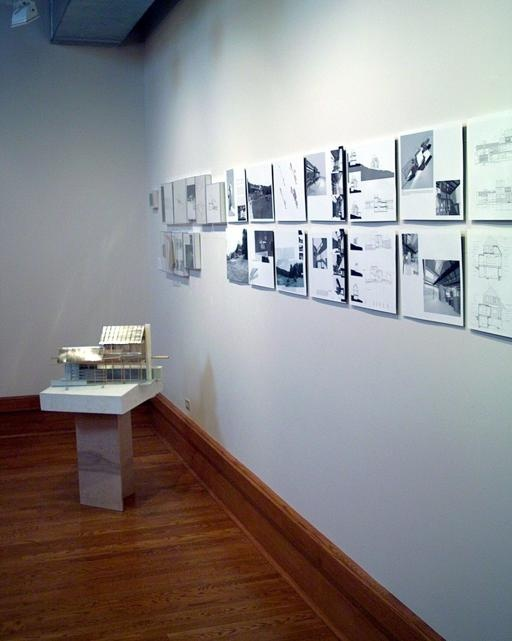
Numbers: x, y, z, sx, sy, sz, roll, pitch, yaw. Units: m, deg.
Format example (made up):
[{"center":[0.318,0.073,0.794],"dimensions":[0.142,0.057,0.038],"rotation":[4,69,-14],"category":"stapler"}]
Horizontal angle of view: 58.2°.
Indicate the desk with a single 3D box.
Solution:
[{"center":[-1.063,0.819,3.429],"dimensions":[0.739,1.291,0.788],"rotation":[0,4,8],"category":"desk"}]
